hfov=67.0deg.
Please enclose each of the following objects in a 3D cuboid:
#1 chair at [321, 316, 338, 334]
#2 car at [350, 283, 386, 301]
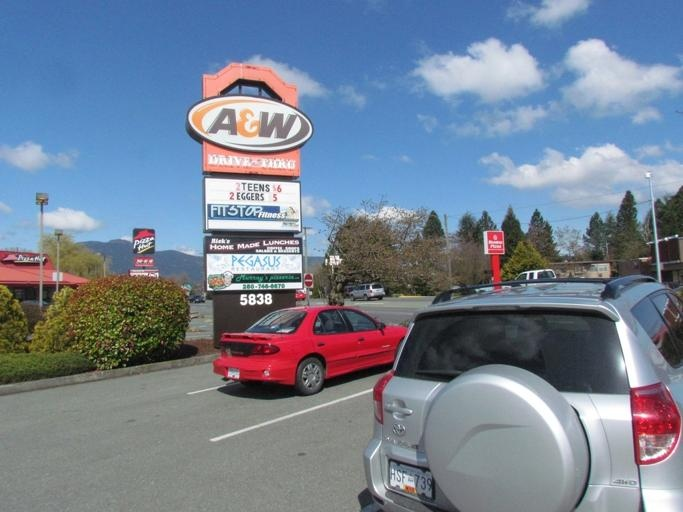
[{"bbox_3d":[-0.221,1.322,9.775,0.221,0.349,0.434,3,14,-6],"label":"chair"},{"bbox_3d":[2.643,3.522,50.872,1.462,1.312,3.030,1,4,-35],"label":"car"}]
